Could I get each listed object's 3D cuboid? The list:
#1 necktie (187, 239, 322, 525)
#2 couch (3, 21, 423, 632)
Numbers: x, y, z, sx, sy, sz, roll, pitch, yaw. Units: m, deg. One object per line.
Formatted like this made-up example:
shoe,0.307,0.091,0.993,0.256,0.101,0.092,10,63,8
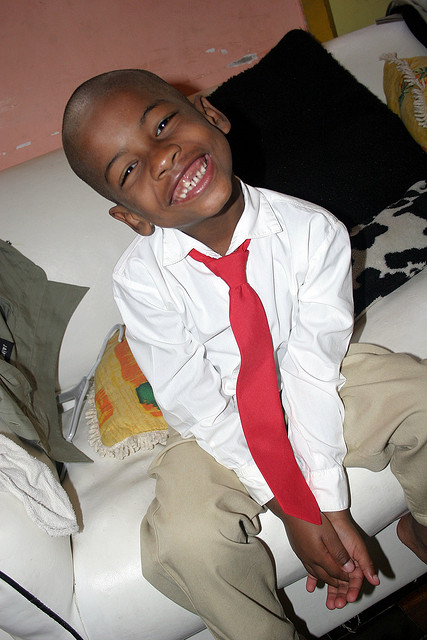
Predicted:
necktie,0.069,0.097,0.778,0.103,0.454,0.032,-15,-8,7
couch,0.043,0.163,1.167,0.722,1.389,0.806,-9,40,-16
